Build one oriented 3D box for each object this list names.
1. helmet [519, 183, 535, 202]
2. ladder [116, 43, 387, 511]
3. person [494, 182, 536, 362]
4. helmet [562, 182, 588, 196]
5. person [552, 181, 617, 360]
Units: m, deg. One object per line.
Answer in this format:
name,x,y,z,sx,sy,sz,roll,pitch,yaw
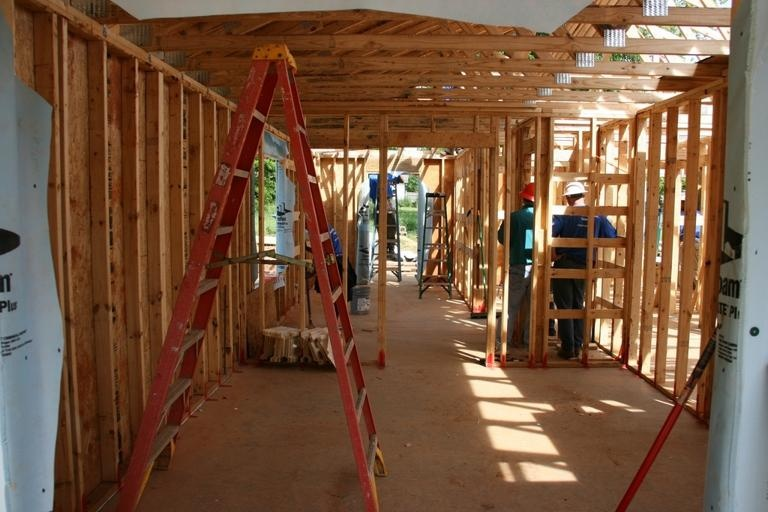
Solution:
helmet,1.706,-0.750,7.886,0.191,0.126,0.245,18,27,-4
ladder,-0.778,0.242,4.414,1.813,2.165,1.441,3,1,-9
person,1.520,0.124,7.769,0.408,1.821,1.193,3,1,11
helmet,2.178,-0.763,7.567,0.201,0.165,0.289,3,1,14
person,2.204,0.159,7.551,0.645,1.915,0.900,3,1,11
